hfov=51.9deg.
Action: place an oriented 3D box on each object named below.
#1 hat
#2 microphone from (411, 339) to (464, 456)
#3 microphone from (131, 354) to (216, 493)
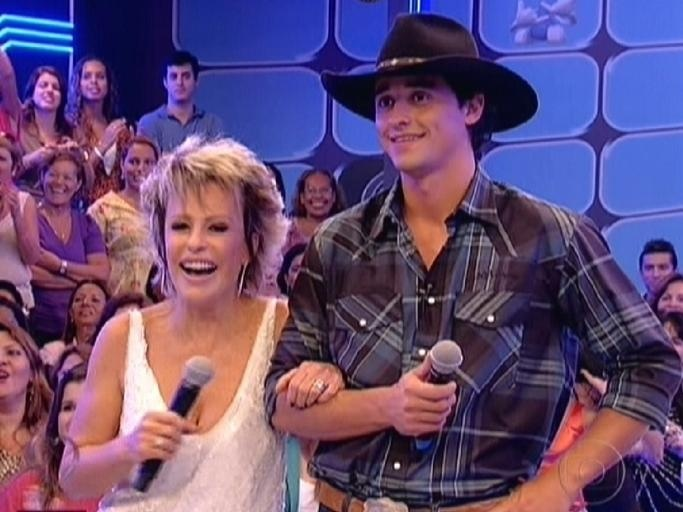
[{"bbox_3d":[0.204,-0.667,2.458,0.497,0.271,0.642,-4,-2,1],"label":"hat"},{"bbox_3d":[0.287,0.436,2.081,0.103,0.370,0.111,25,50,13],"label":"microphone"},{"bbox_3d":[-0.573,0.590,2.378,0.119,0.499,0.120,27,18,4],"label":"microphone"}]
